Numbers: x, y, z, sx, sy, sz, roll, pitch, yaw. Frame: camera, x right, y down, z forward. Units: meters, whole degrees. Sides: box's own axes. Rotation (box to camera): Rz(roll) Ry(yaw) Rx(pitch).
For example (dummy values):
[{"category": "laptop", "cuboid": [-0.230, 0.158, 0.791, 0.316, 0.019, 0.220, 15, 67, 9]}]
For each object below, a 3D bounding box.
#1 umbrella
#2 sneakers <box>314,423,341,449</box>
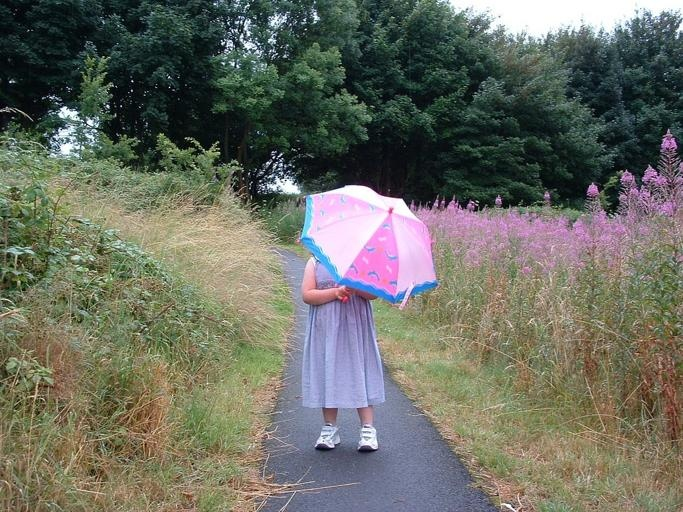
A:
[{"category": "umbrella", "cuboid": [0.249, -0.097, 5.348, 1.212, 0.949, 0.565, -2, 11, -4]}, {"category": "sneakers", "cuboid": [-0.144, 1.714, 5.561, 0.122, 0.157, 0.330, -2, -21, 8]}]
